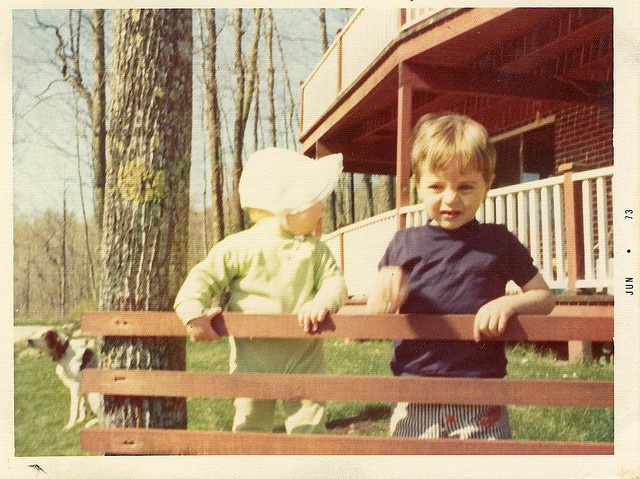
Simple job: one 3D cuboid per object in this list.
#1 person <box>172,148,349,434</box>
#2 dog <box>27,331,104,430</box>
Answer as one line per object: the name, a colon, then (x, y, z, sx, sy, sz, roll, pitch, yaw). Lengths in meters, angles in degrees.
person: (-0.350, 0.643, 5.432, 1.044, 2.506, 0.950, 0, 15, -1)
dog: (-1.810, 1.074, 5.887, 0.737, 0.718, 0.300, 11, -16, -36)
